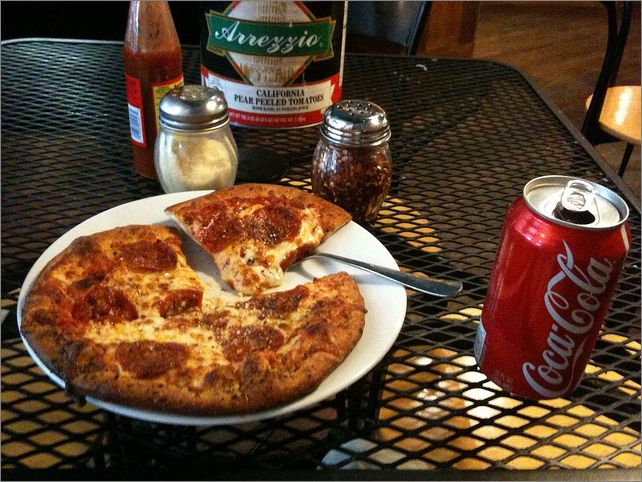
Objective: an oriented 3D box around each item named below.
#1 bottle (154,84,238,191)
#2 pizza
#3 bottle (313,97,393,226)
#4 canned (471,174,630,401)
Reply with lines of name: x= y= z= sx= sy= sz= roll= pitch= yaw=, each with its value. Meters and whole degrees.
bottle: x=-0.202 y=-0.160 z=0.923 sx=0.125 sy=0.152 sz=0.118 roll=2 pitch=43 yaw=-2
pizza: x=-0.139 y=0.055 z=0.764 sx=0.428 sy=0.049 sz=0.399 roll=10 pitch=43 yaw=17
bottle: x=0.055 y=-0.133 z=0.966 sx=0.139 sy=0.172 sz=0.138 roll=26 pitch=43 yaw=28
canned: x=0.258 y=0.053 z=0.656 sx=0.144 sy=0.231 sz=0.163 roll=19 pitch=45 yaw=13
